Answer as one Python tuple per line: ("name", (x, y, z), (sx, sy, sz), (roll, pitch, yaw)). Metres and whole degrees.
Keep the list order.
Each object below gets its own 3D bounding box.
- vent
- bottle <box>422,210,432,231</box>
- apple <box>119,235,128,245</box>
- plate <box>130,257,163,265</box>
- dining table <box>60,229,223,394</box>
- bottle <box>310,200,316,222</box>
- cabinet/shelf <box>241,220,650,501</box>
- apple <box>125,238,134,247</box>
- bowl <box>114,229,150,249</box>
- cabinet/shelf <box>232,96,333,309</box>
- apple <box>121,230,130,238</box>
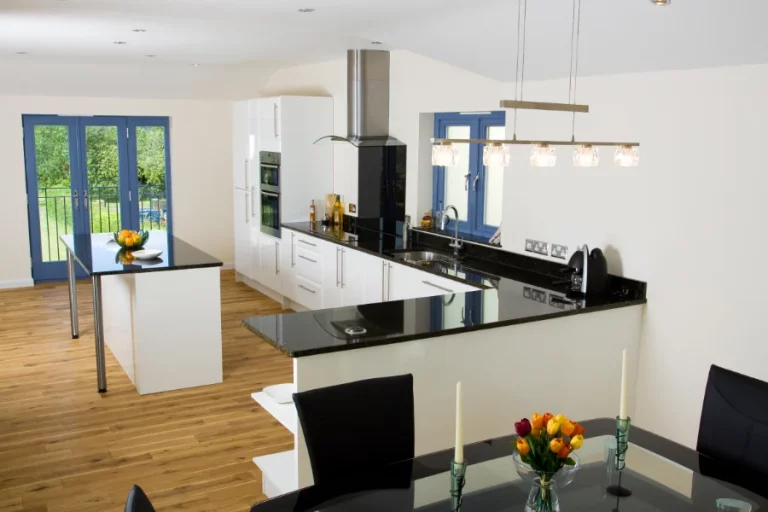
("vent", (-0.144, -1.873, 6.906), (0.707, 1.045, 1.100), (-2, 15, -11))
("bottle", (0.462, -0.394, 6.488), (0.121, 0.173, 0.054), (-2, -7, 38))
("apple", (-2.736, -0.165, 6.107), (0.070, 0.056, 0.078), (31, 5, 31))
("plate", (-2.247, 0.050, 5.567), (0.276, 0.018, 0.316), (-5, 11, -20))
("dining table", (-2.319, 0.232, 5.863), (1.361, 1.233, 2.575), (-6, 15, -29))
("bottle", (-0.955, -0.587, 7.721), (0.102, 0.267, 0.198), (-2, 11, -7))
("cabinet/shelf", (0.412, 0.509, 4.621), (2.310, 1.374, 2.243), (-6, 14, -28))
("apple", (-2.639, -0.135, 6.073), (0.072, 0.078, 0.078), (1, 10, -18))
("bowl", (-2.670, -0.187, 6.167), (0.261, 0.133, 0.264), (2, 13, 0))
("cabinet/shelf", (-1.312, -0.727, 7.763), (1.022, 3.041, 2.663), (-2, 9, -24))
("apple", (-2.732, -0.229, 6.183), (0.110, 0.068, 0.119), (-5, 16, -28))
